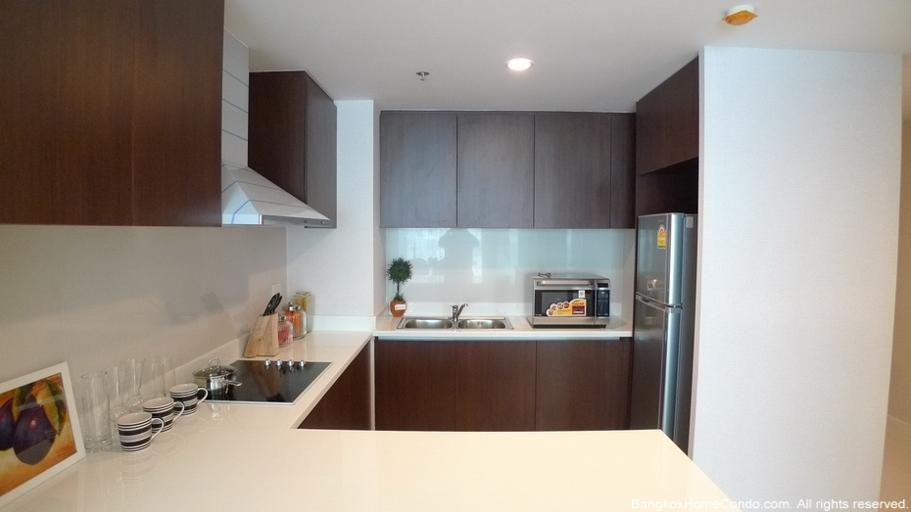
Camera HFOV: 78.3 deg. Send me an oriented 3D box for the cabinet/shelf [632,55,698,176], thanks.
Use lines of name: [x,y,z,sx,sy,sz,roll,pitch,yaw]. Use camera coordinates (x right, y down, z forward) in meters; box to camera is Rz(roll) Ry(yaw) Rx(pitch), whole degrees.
cabinet/shelf: [1.612,-1.086,4.258,0.267,0.610,0.772,0,3,-5]

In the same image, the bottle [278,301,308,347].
bottle: [-1.318,0.531,4.494,0.147,0.310,0.379,-1,1,4]

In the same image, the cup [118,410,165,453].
cup: [-1.765,0.970,3.139,0.232,0.190,0.103,-2,2,-29]

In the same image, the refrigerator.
refrigerator: [1.618,0.560,4.356,0.243,1.760,0.673,-2,2,-20]

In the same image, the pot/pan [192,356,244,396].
pot/pan: [-1.555,0.773,3.644,0.305,0.178,0.187,3,3,17]

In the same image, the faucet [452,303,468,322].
faucet: [0.045,0.520,5.167,0.138,0.152,0.316,-1,1,3]

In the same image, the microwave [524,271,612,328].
microwave: [0.999,0.398,4.843,0.649,0.403,0.443,0,-2,-2]

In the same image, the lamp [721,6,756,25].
lamp: [1.816,-1.510,3.561,0.174,0.077,0.216,0,1,38]

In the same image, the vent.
vent: [-1.260,-0.902,4.887,0.599,0.971,1.555,1,3,10]

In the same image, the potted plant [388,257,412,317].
potted plant: [-0.514,0.288,5.185,0.252,0.538,0.240,-1,1,-7]

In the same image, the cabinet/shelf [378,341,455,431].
cabinet/shelf: [-0.349,1.048,4.713,0.817,0.728,0.418,0,1,1]
